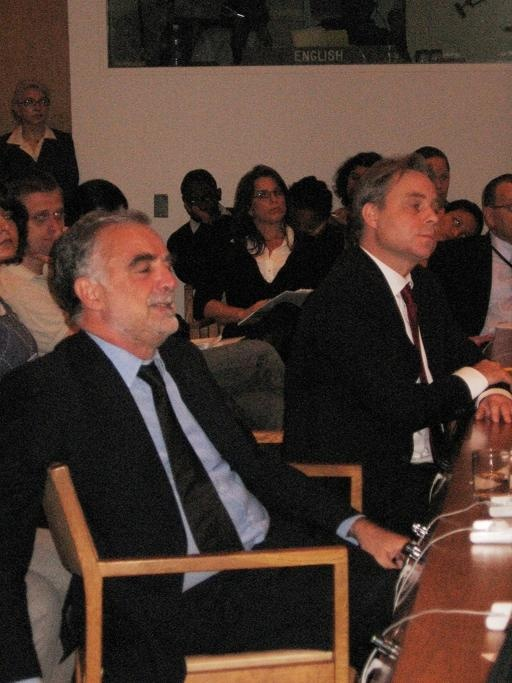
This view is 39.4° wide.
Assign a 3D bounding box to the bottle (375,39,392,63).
[{"bbox_3d":[1.059,-2.432,5.974,0.118,0.205,0.034,-1,10,1],"label":"bottle"}]

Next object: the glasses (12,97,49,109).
[{"bbox_3d":[-1.636,-1.757,5.262,0.225,0.085,0.110,-3,8,-15],"label":"glasses"}]

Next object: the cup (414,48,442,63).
[{"bbox_3d":[1.429,-2.387,5.920,0.181,0.091,0.150,0,9,8],"label":"cup"}]

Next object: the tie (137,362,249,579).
[{"bbox_3d":[-0.158,0.264,1.449,0.144,0.457,0.044,-26,4,-36],"label":"tie"}]

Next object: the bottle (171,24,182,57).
[{"bbox_3d":[-0.675,-2.547,6.075,0.081,0.303,0.069,-1,10,4],"label":"bottle"}]
